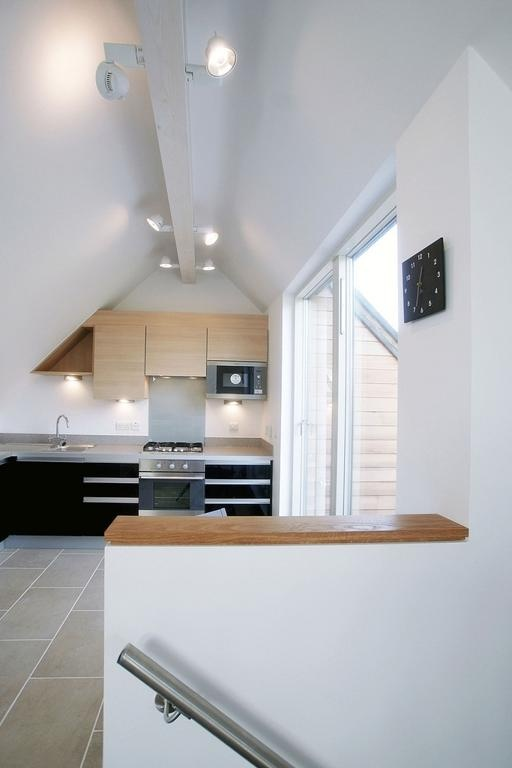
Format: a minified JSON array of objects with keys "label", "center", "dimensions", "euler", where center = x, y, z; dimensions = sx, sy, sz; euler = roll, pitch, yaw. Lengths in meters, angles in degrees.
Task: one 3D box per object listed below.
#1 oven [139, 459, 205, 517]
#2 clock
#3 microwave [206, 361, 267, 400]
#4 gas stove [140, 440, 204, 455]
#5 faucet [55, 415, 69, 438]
[{"label":"oven","center":[-0.672,0.779,4.460],"dimensions":[0.517,0.499,0.369],"euler":[1,12,-9]},{"label":"clock","center":[0.476,-0.284,1.579],"dimensions":[0.018,0.198,0.197],"euler":[1,-6,-15]},{"label":"microwave","center":[-0.176,0.068,4.767],"dimensions":[0.488,0.342,0.299],"euler":[1,-1,-4]},{"label":"gas stove","center":[-0.703,0.529,4.674],"dimensions":[0.487,0.038,0.556],"euler":[3,0,-6]},{"label":"faucet","center":[-1.694,0.363,4.787],"dimensions":[0.107,0.209,0.114],"euler":[2,0,-12]}]
